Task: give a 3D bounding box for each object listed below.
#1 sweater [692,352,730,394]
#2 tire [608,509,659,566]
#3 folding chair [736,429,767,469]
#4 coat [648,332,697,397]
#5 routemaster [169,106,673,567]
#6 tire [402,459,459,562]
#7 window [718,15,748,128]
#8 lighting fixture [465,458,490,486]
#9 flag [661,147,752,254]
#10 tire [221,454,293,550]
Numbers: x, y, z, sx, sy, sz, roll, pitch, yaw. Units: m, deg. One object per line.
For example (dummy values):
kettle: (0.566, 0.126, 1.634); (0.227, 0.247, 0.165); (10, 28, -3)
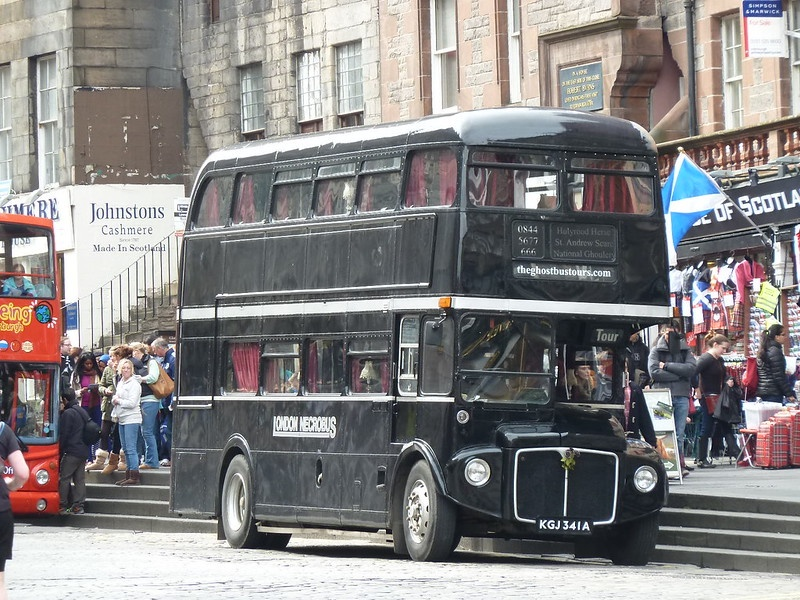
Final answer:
sweater: (5.085, 1.225, 28.026); (0.594, 0.600, 0.364); (3, -8, -32)
tire: (3.002, 3.025, 22.024); (0.255, 0.770, 0.732); (1, -5, -21)
folding chair: (5.756, 2.480, 28.286); (0.385, 0.727, 0.598); (4, -24, -8)
coat: (4.261, 1.063, 26.794); (0.828, 1.212, 0.700); (1, -20, -2)
routemaster: (0.320, 0.623, 23.042); (2.615, 4.240, 6.190); (1, -2, -36)
tire: (0.402, 2.650, 21.613); (0.481, 1.508, 1.259); (3, 0, -27)
window: (6.372, -4.334, 32.817); (0.293, 2.137, 0.732); (-5, 8, -32)
lighting fixture: (0.957, 2.149, 21.357); (0.310, 0.335, 0.086); (-4, -3, -14)
flag: (5.135, -1.743, 30.210); (1.130, 1.630, 0.765); (3, 8, 24)
tire: (-2.065, 2.868, 24.611); (0.455, 1.370, 1.292); (7, 0, -37)
